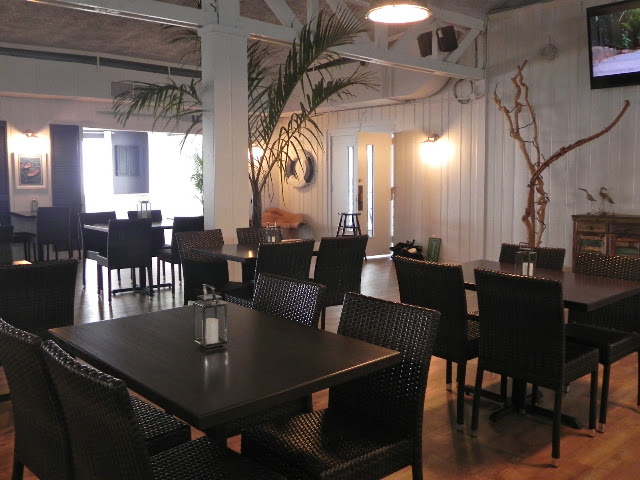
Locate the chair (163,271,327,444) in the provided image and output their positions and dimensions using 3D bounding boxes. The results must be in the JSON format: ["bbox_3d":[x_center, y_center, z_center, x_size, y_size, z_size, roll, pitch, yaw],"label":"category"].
[{"bbox_3d":[-0.471,0.533,2.709,0.649,0.955,0.591,3,1,-42],"label":"chair"}]

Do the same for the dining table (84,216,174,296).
[{"bbox_3d":[-2.315,0.162,6.296,0.875,1.077,0.947,-3,7,-13],"label":"dining table"}]

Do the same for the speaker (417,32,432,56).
[{"bbox_3d":[1.611,-3.012,7.637,0.070,0.304,0.264,-12,13,-31],"label":"speaker"}]

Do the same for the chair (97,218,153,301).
[{"bbox_3d":[-2.427,0.181,6.171,0.564,1.046,0.607,-5,14,-38],"label":"chair"}]

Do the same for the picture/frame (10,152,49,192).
[{"bbox_3d":[-5.341,-1.264,9.095,0.686,0.824,0.059,-5,11,-45],"label":"picture/frame"}]

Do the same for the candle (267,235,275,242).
[{"bbox_3d":[-0.451,-0.017,4.560,0.043,0.056,0.078,-5,4,-45],"label":"candle"}]

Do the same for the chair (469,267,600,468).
[{"bbox_3d":[1.326,0.689,3.046,0.686,1.058,0.719,-5,8,-17],"label":"chair"}]

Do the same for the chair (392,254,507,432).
[{"bbox_3d":[0.847,0.593,3.226,0.639,0.858,0.641,32,-12,-21],"label":"chair"}]

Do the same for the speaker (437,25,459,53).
[{"bbox_3d":[1.814,-2.913,7.166,0.274,0.379,0.249,3,9,15],"label":"speaker"}]
